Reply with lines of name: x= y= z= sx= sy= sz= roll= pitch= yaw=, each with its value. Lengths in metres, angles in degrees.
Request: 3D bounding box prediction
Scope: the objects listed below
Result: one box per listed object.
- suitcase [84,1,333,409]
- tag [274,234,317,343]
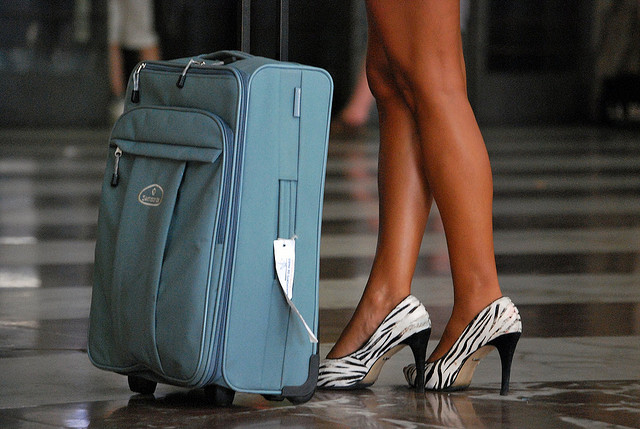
suitcase: x=-0.311 y=0.053 z=2.439 sx=0.628 sy=0.905 sz=0.308 roll=3 pitch=12 yaw=9
tag: x=-0.071 y=0.195 z=2.442 sx=0.107 sy=0.289 sz=0.041 roll=-1 pitch=2 yaw=-4
